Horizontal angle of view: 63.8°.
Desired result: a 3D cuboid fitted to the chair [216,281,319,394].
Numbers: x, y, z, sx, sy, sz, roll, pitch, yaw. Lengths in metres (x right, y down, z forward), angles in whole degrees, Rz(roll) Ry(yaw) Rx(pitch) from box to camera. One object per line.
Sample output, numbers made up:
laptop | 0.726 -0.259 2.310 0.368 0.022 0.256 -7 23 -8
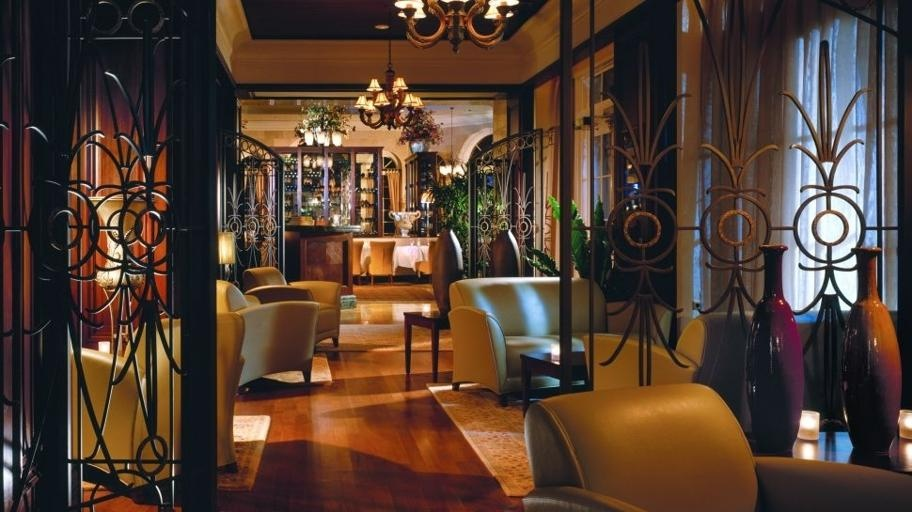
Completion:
chair | -1.630 0.637 6.418 1.012 0.929 0.801 -4 4 -44

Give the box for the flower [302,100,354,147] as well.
flower | -2.318 -2.330 13.196 0.899 0.711 0.862 -2 5 -10

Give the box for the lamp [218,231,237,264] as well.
lamp | -2.535 -0.082 8.085 0.148 0.351 0.227 -1 9 -9
